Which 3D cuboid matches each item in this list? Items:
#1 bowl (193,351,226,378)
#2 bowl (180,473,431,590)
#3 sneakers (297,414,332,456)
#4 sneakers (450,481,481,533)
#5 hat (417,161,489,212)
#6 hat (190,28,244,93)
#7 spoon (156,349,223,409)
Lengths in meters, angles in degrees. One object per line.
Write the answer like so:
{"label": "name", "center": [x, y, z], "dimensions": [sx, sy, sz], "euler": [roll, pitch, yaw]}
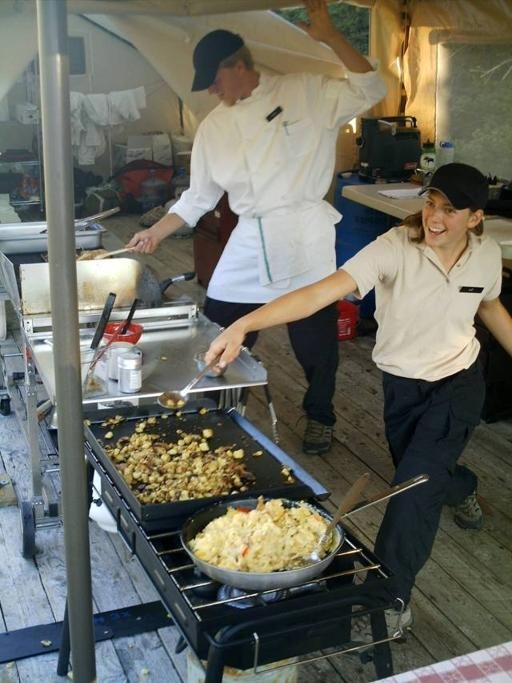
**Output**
{"label": "bowl", "center": [-0.168, 0.074, 1.937], "dimensions": [0.094, 0.035, 0.092], "euler": [0, 11, 0]}
{"label": "bowl", "center": [0.065, 0.347, 1.061], "dimensions": [0.377, 0.053, 0.214], "euler": [-12, 16, -29]}
{"label": "sneakers", "center": [0.322, 0.495, 3.202], "dimensions": [0.112, 0.115, 0.274], "euler": [-3, 11, -1]}
{"label": "sneakers", "center": [0.891, 0.729, 2.561], "dimensions": [0.104, 0.098, 0.237], "euler": [-8, 9, -8]}
{"label": "hat", "center": [0.607, -0.443, 1.754], "dimensions": [0.191, 0.091, 0.132], "euler": [14, 14, -42]}
{"label": "hat", "center": [-0.181, -1.201, 2.528], "dimensions": [0.270, 0.256, 0.121], "euler": [-14, 25, -40]}
{"label": "spoon", "center": [-0.156, 0.097, 1.788], "dimensions": [0.080, 0.045, 0.344], "euler": [38, 44, 19]}
